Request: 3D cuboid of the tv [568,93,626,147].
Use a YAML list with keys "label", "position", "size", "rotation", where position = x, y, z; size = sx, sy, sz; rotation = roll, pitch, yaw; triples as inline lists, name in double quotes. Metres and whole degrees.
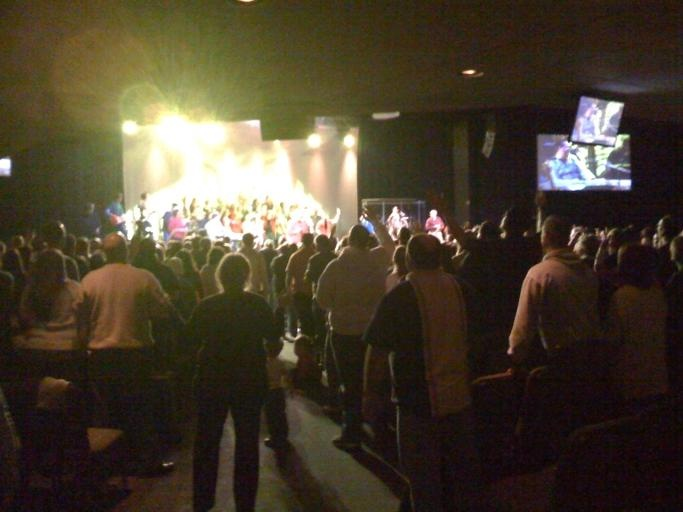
- label: "tv"
  position: [3.498, -1.811, 8.365]
  size: [0.087, 0.620, 0.862]
  rotation: [-3, 17, -20]
